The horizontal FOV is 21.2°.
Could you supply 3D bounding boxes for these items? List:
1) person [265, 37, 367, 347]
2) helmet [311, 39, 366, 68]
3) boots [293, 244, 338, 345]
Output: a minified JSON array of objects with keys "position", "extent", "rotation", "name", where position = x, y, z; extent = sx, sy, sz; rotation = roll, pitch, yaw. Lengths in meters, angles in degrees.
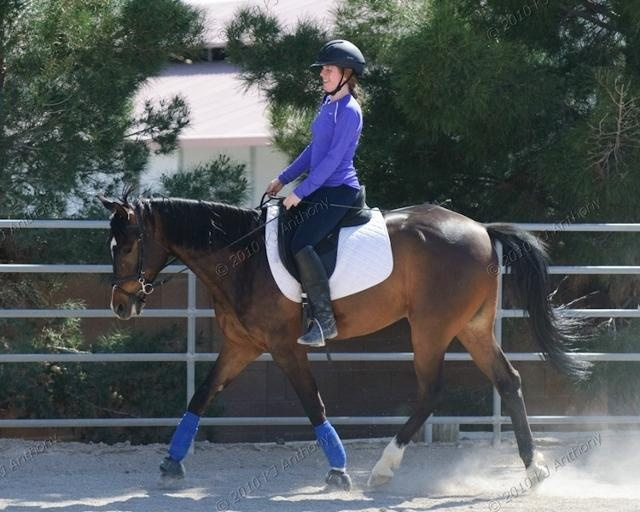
[{"position":[0.029,-0.550,15.064],"extent":[0.725,2.633,0.950],"rotation":[-1,9,5],"name":"person"},{"position":[0.180,-1.761,15.127],"extent":[0.357,0.197,0.252],"rotation":[3,1,-25],"name":"helmet"},{"position":[-0.035,0.328,14.914],"extent":[0.404,0.905,0.289],"rotation":[-10,12,-34],"name":"boots"}]
